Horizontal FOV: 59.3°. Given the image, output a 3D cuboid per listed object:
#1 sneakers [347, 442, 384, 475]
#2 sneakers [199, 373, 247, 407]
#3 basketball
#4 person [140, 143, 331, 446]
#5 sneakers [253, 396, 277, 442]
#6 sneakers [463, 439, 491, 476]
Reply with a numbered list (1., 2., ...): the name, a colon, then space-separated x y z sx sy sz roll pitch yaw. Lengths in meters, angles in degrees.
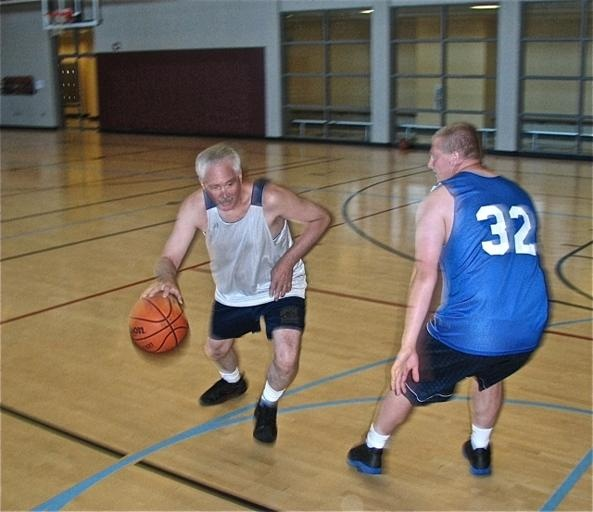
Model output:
1. sneakers: 0.283 0.818 2.154 0.101 0.115 0.185 5 0 -22
2. sneakers: -0.384 0.710 2.833 0.288 0.106 0.099 -14 16 -31
3. basketball: -0.606 0.277 2.358 0.273 0.236 0.261 6 12 -33
4. person: -0.253 0.222 2.504 0.774 1.203 0.518 1 12 7
5. sneakers: -0.155 0.757 2.407 0.082 0.090 0.222 -2 16 -7
6. sneakers: 0.740 0.823 2.143 0.068 0.067 0.168 -2 18 7
